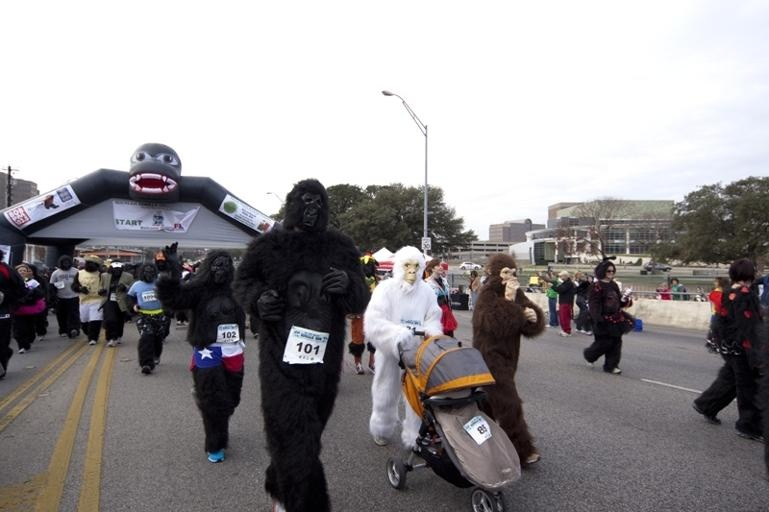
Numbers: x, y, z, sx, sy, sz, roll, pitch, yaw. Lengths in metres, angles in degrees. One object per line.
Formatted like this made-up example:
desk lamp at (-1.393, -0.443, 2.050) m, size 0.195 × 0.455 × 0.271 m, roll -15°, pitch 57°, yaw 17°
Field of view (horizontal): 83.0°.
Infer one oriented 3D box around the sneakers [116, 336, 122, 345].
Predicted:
sneakers at (-7.320, 2.314, 11.903) m, size 0.140 × 0.253 × 0.395 m, roll 2°, pitch -21°, yaw -21°

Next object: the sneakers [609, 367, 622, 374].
sneakers at (4.918, 2.421, 9.118) m, size 0.115 × 0.083 × 0.214 m, roll 0°, pitch -15°, yaw 0°

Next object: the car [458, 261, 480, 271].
car at (9.741, 1.068, 49.134) m, size 2.875 × 0.951 × 1.333 m, roll -1°, pitch 0°, yaw 5°

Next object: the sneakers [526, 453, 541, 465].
sneakers at (1.845, 2.485, 5.312) m, size 0.097 × 0.110 × 0.266 m, roll -4°, pitch -25°, yaw -5°

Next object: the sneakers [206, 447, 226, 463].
sneakers at (-2.130, 2.506, 5.493) m, size 0.213 × 0.138 × 0.206 m, roll -1°, pitch 1°, yaw -24°
